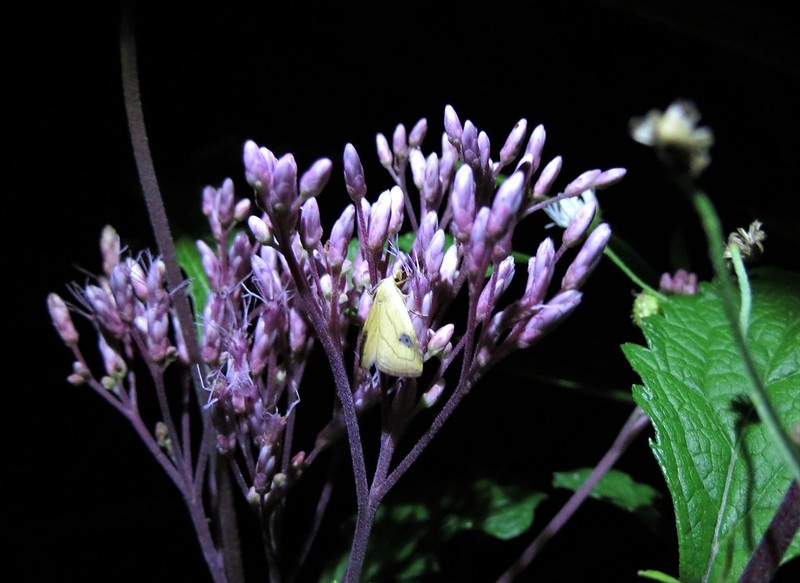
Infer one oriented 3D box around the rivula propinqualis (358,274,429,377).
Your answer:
[{"bbox_3d":[-0.030,0.049,1.334,0.117,0.186,0.049,-5,-39,14],"label":"rivula propinqualis"}]
